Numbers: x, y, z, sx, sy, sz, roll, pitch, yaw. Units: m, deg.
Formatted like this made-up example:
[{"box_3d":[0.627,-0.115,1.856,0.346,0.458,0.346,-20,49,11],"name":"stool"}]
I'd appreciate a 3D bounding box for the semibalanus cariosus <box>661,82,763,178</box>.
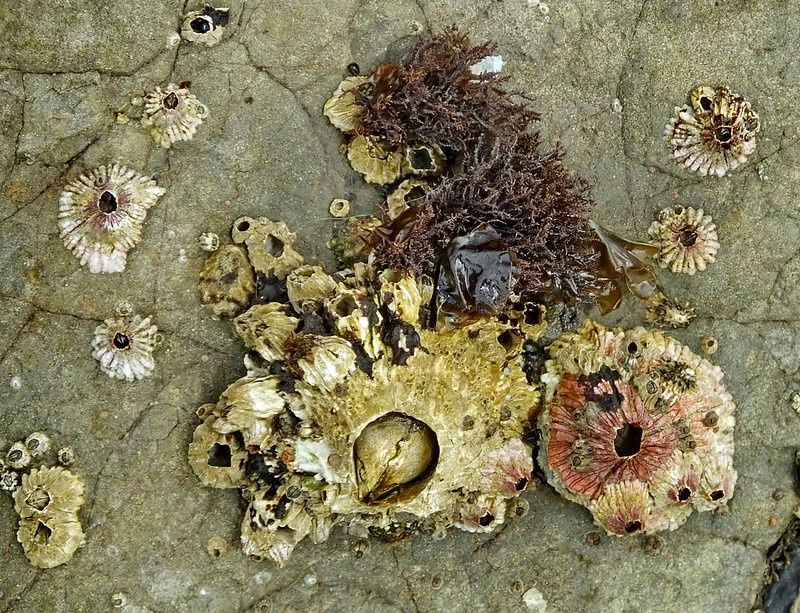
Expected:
[{"box_3d":[2.565,-1.421,8.146,0.719,0.219,0.715,39,87,7],"name":"semibalanus cariosus"}]
